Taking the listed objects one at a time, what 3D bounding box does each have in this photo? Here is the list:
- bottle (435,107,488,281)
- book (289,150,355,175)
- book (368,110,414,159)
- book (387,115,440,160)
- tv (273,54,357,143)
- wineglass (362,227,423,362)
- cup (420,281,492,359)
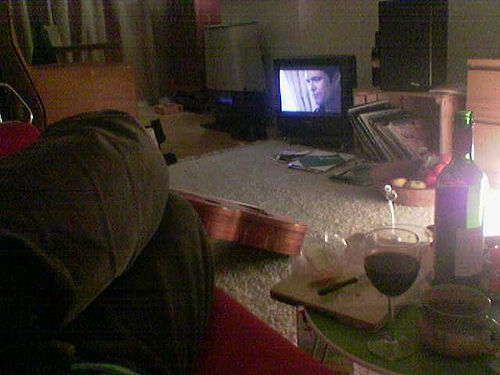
[{"bbox_3d":[0.371,0.016,0.700,0.097,0.289,0.083,0,17,7],"label":"bottle"},{"bbox_3d":[0.438,-0.162,2.628,0.205,0.025,0.228,13,30,40],"label":"book"},{"bbox_3d":[0.791,-0.267,2.445,0.271,0.269,0.069,-5,-26,-43],"label":"book"},{"bbox_3d":[0.946,-0.303,2.358,0.286,0.209,0.258,-6,18,-12],"label":"book"},{"bbox_3d":[0.538,-0.689,3.076,0.625,0.625,0.335,8,25,32],"label":"tv"},{"bbox_3d":[0.234,0.175,0.679,0.088,0.189,0.087,6,-10,-12],"label":"wineglass"},{"bbox_3d":[0.310,0.203,0.626,0.091,0.072,0.099,-2,17,1],"label":"cup"}]
